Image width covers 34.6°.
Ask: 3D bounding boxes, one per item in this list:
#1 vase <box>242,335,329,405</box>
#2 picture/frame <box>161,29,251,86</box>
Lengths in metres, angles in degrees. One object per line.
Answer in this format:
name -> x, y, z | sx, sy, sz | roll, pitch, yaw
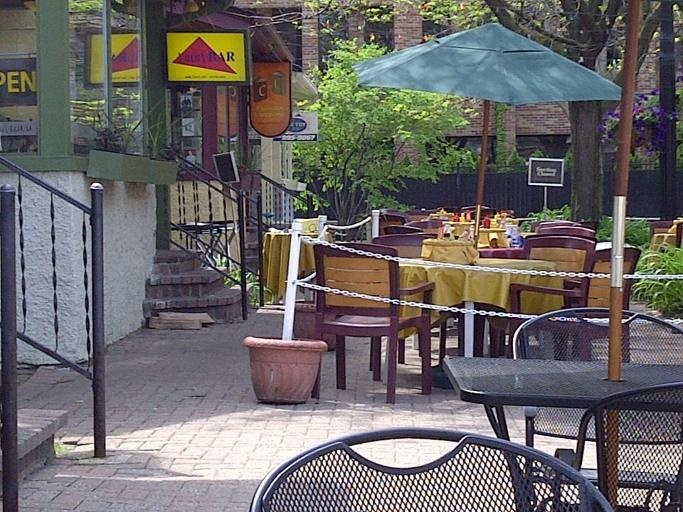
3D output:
vase -> -0.467, 0.956, 9.312 | 0.678, 0.399, 0.655 | 2, -1, -40
picture/frame -> -1.795, -2.733, 14.936 | 1.380, 0.714, 0.145 | 5, 13, 26
